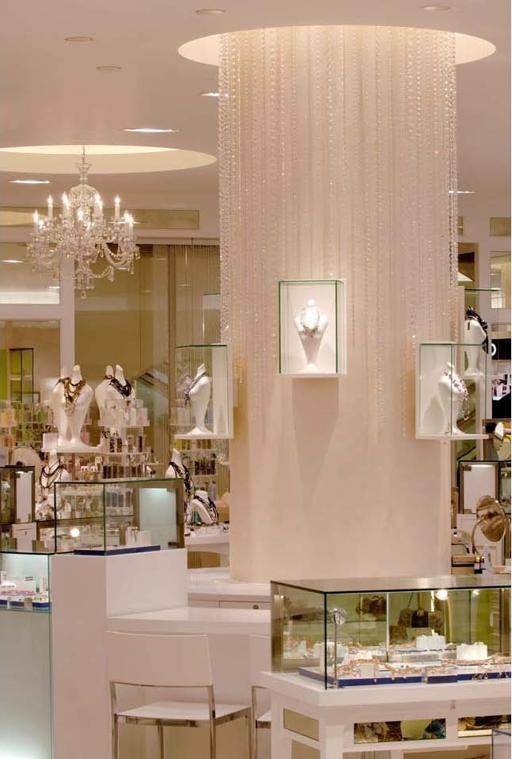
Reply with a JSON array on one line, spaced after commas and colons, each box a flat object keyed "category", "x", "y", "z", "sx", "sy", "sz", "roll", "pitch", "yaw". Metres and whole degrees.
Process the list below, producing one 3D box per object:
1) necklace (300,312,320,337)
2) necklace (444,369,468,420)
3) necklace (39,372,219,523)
[{"category": "necklace", "x": 0.244, "y": -0.250, "z": 4.691, "sx": 0.067, "sy": 0.105, "sz": 0.035, "roll": 0, "pitch": 6, "yaw": 0}, {"category": "necklace", "x": 0.931, "y": 0.064, "z": 4.814, "sx": 0.064, "sy": 0.240, "sz": 0.163, "roll": -3, "pitch": -2, "yaw": 36}, {"category": "necklace", "x": -0.933, "y": 0.371, "z": 7.043, "sx": 1.239, "sy": 1.460, "sz": 1.067, "roll": -1, "pitch": 1, "yaw": 6}]
